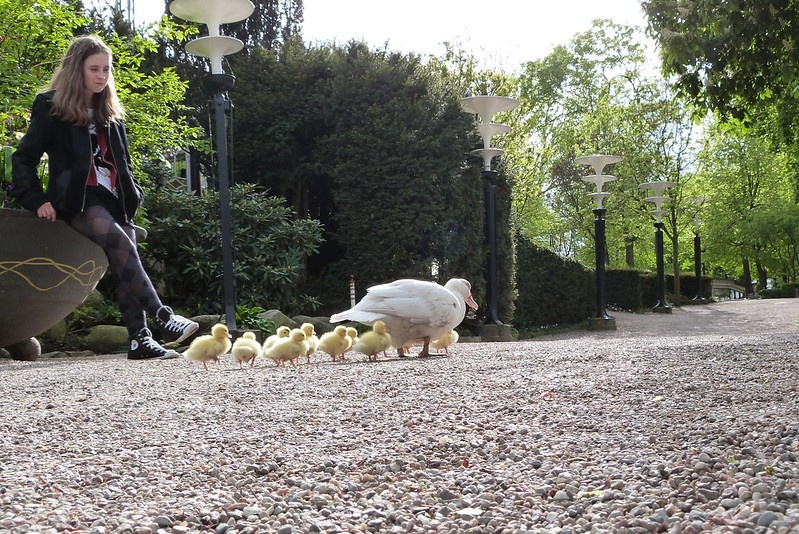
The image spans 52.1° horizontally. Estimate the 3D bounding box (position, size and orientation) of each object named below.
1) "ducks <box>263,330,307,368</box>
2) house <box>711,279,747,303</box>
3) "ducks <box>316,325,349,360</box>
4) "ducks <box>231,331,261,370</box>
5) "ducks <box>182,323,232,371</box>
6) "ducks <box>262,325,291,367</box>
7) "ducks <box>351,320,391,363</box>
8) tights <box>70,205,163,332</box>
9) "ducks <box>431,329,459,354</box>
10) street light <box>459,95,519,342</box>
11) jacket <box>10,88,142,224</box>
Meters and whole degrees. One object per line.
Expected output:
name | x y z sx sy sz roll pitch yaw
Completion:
"ducks | -1.153 0.780 8.160 0.428 0.348 0.298 -2 4 -21
house | 19.808 1.279 49.649 1.600 1.332 11.403 -2 -3 22
"ducks | -0.684 0.796 8.640 0.350 0.346 0.243 -7 0 6
"ducks | -1.526 0.815 8.154 0.201 0.337 0.320 -1 -3 12
"ducks | -1.874 0.754 8.029 0.469 0.394 0.333 -5 12 -19
"ducks | -1.298 0.760 8.368 0.429 0.456 0.250 -1 5 2
"ducks | -0.307 0.765 8.599 0.441 0.414 0.316 -5 3 -34
tights | -2.720 -0.033 7.812 0.578 1.391 0.698 -3 1 -30
"ducks | 0.536 0.856 9.488 0.356 0.282 0.198 0 5 -9
street light | 1.690 -0.885 15.038 1.039 4.491 0.898 1 -4 -33
jacket | -3.024 -1.035 7.639 1.071 1.177 0.374 1 -3 -27
